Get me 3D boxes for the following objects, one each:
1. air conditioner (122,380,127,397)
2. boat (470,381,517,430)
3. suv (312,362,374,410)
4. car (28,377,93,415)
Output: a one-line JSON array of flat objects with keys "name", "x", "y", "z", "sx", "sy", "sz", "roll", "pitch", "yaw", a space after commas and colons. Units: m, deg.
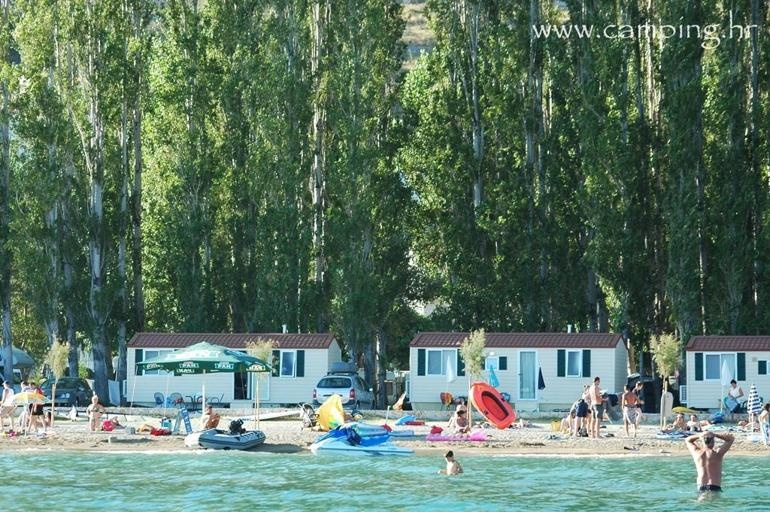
[{"name": "air conditioner", "x": -18.165, "y": 9.299, "z": 130.513, "sx": 0.265, "sy": 1.111, "sz": 1.687, "roll": 0, "pitch": -8, "yaw": -11}, {"name": "boat", "x": 6.702, "y": 9.529, "z": 118.734, "sx": 2.114, "sy": 3.272, "sz": 0.892, "roll": -40, "pitch": -2, "yaw": -32}, {"name": "suv", "x": -2.675, "y": 9.530, "z": 126.674, "sx": 3.332, "sy": 3.815, "sz": 7.045, "roll": -2, "pitch": -6, "yaw": 15}, {"name": "car", "x": -22.076, "y": 9.482, "z": 129.830, "sx": 1.618, "sy": 1.621, "sz": 3.061, "roll": -2, "pitch": -12, "yaw": 11}]
